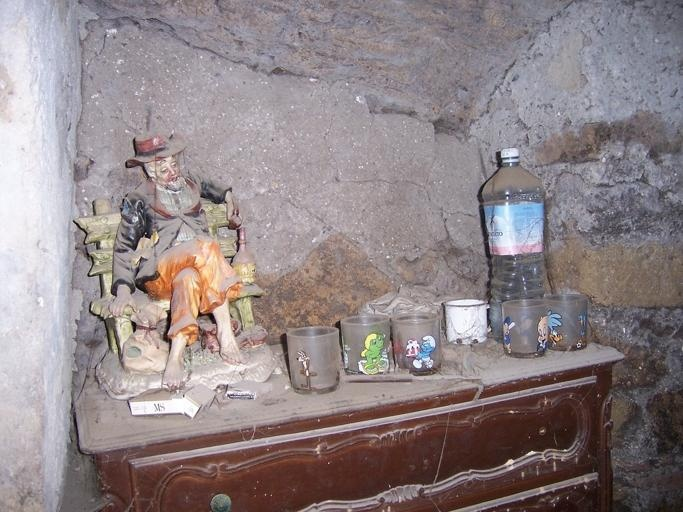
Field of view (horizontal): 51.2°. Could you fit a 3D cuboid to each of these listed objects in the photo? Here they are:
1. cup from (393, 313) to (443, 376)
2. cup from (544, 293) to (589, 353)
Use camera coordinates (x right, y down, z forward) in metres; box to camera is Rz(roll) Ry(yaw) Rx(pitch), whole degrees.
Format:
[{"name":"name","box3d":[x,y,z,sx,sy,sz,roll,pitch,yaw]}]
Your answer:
[{"name":"cup","box3d":[0.217,0.255,2.097,0.149,0.172,0.153,-1,5,0]},{"name":"cup","box3d":[0.679,0.197,2.230,0.150,0.181,0.157,-3,11,1]}]
